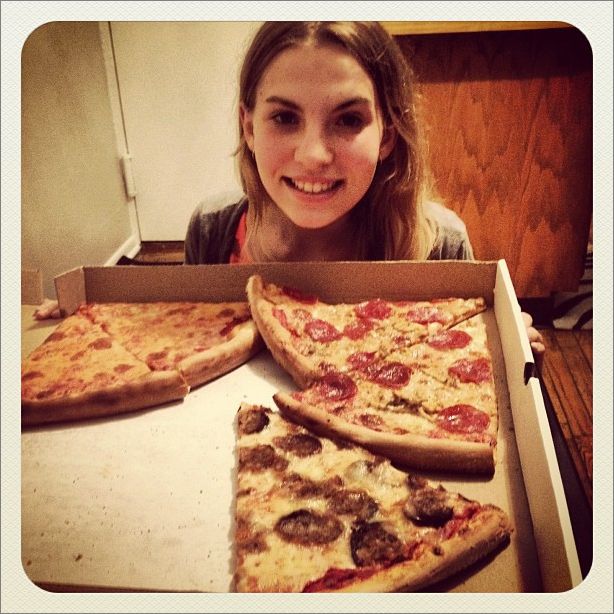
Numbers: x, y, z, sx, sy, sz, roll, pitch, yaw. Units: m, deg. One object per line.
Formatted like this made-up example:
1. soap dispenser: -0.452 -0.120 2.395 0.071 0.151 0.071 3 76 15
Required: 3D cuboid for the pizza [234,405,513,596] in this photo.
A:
1. pizza: 0.124 0.405 1.235 0.569 0.205 0.440 -2 15 -6
